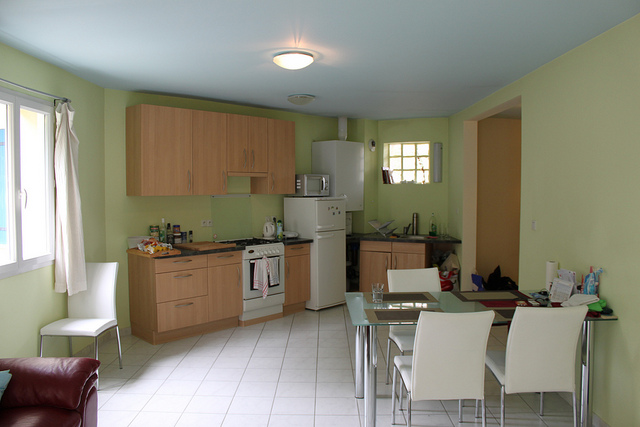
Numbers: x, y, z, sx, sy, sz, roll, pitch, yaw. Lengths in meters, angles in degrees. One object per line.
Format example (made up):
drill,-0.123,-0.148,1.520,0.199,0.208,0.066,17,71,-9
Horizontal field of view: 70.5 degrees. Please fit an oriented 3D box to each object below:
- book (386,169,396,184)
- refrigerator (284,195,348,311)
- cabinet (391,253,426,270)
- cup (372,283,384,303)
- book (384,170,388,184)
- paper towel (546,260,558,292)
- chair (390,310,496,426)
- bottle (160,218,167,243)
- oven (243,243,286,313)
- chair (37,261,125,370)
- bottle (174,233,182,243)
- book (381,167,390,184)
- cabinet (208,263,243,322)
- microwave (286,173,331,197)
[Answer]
book,1.234,-0.638,7.808,0.105,0.266,0.279,-8,-4,24
refrigerator,-0.036,0.600,6.923,0.874,1.691,0.628,-1,12,-2
cabinet,1.385,0.724,7.048,0.466,0.410,0.270,0,-2,28
cup,0.567,0.777,4.478,0.159,0.221,0.156,0,-2,0
book,1.146,-0.628,7.752,0.050,0.192,0.015,8,14,34
paper towel,2.325,0.624,4.522,0.108,0.258,0.238,6,13,27
chair,1.036,1.362,3.865,0.792,1.240,0.503,1,12,6
bottle,-2.093,0.233,6.049,0.092,0.319,0.187,-4,12,-16
oven,-0.937,0.863,6.463,0.626,0.928,0.682,1,2,43
chair,-2.566,1.155,5.087,0.755,1.159,1.044,-1,11,-2
bottle,-1.915,0.334,6.109,0.110,0.160,0.106,0,5,0
book,1.130,-0.652,7.772,0.040,0.335,0.269,1,6,25
cabinet,-1.399,1.034,6.160,0.640,0.709,0.570,-2,0,-28
microwave,-0.154,-0.419,7.149,0.383,0.356,0.578,2,4,41
